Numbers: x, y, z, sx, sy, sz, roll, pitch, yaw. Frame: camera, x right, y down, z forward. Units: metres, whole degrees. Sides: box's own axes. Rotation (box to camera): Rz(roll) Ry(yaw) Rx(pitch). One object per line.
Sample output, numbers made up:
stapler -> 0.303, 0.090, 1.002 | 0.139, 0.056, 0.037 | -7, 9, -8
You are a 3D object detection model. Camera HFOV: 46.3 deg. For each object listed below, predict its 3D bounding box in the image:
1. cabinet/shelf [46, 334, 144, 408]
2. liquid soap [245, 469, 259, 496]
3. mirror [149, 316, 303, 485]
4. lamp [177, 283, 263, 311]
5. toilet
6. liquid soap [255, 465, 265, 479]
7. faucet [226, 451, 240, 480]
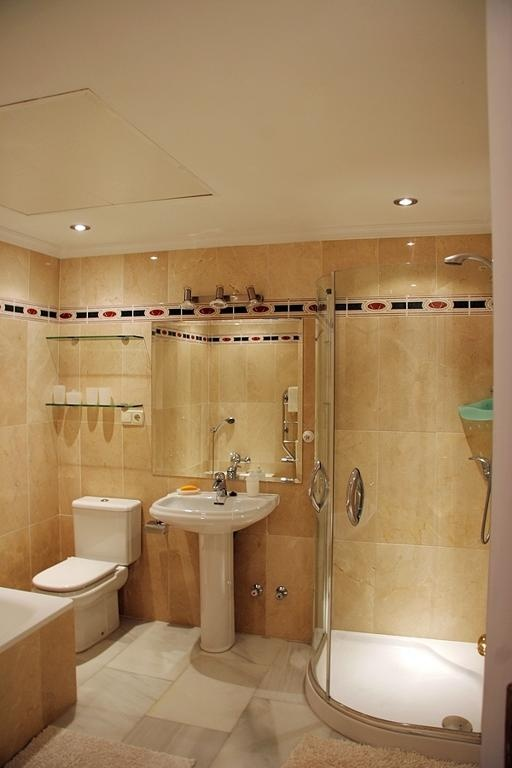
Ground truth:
cabinet/shelf -> -0.962, -0.056, 3.574 | 0.642, 0.425, 0.113 | 0, -4, 16
liquid soap -> -0.018, 0.536, 3.189 | 0.093, 0.168, 0.092 | 0, -3, 1
mirror -> -0.128, 0.091, 3.316 | 0.894, 0.975, 0.044 | 0, 1, 18
lamp -> -0.207, -0.474, 3.296 | 0.487, 0.130, 0.167 | -1, 1, 23
toilet -> -0.852, 0.995, 3.297 | 0.462, 0.824, 0.781 | -2, -5, 18
liquid soap -> 0.025, 0.479, 3.265 | 0.055, 0.067, 0.057 | 2, 6, 14
faucet -> -0.125, 0.451, 3.296 | 0.075, 0.146, 0.040 | -1, 1, 19
